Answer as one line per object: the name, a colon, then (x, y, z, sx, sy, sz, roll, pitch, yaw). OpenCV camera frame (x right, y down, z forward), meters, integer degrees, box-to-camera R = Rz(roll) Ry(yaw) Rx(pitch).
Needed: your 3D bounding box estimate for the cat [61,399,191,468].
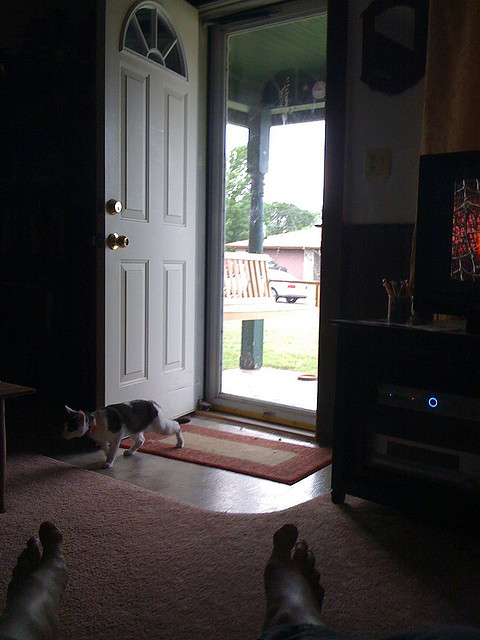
cat: (-0.489, 0.487, 2.261, 0.595, 0.297, 0.161, -7, 8, -34)

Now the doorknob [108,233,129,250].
doorknob: (-0.589, -0.380, 2.387, 0.071, 0.075, 0.079, 0, 49, -7)

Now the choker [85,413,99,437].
choker: (-0.612, 0.415, 2.073, 0.052, 0.067, 0.073, -26, 54, -11)
